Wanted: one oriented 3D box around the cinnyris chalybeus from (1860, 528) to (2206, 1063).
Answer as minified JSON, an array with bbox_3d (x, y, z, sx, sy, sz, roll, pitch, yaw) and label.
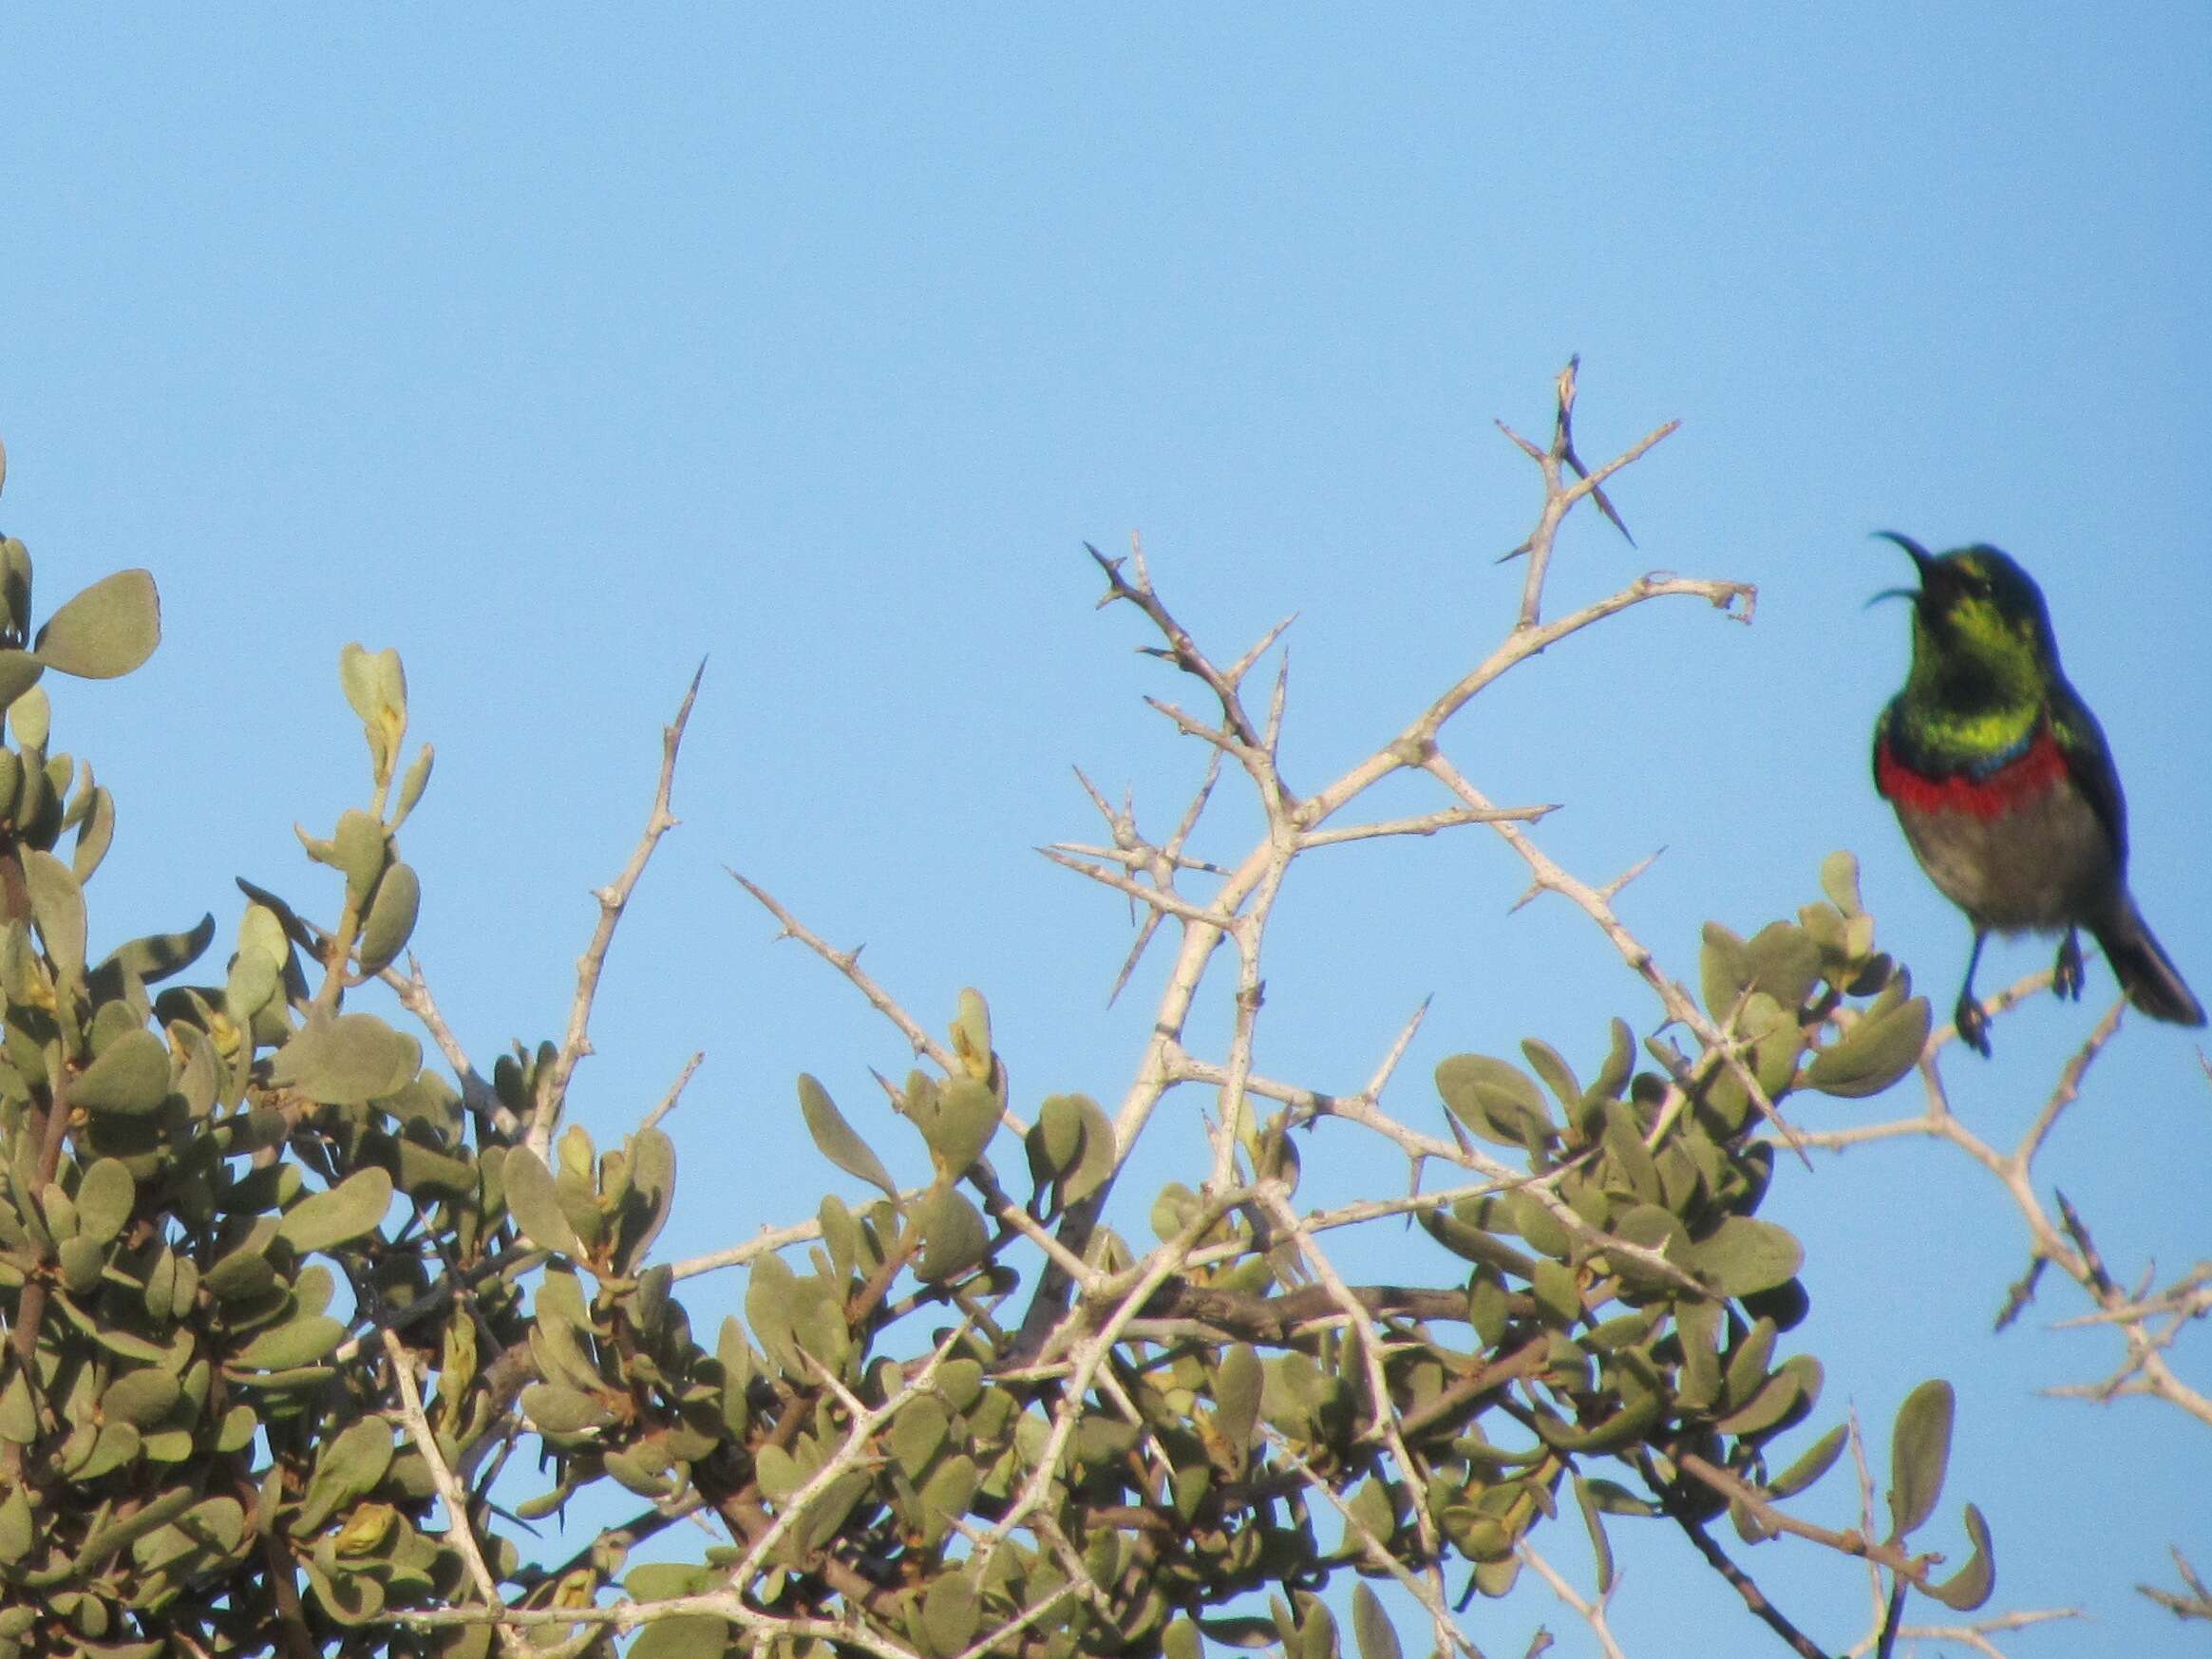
[{"bbox_3d":[1.866,0.004,8.377,0.974,0.818,0.354,37,-31,-22],"label":"cinnyris chalybeus"}]
